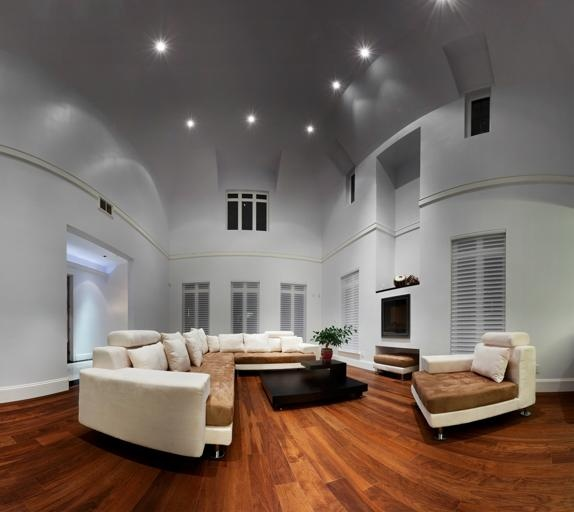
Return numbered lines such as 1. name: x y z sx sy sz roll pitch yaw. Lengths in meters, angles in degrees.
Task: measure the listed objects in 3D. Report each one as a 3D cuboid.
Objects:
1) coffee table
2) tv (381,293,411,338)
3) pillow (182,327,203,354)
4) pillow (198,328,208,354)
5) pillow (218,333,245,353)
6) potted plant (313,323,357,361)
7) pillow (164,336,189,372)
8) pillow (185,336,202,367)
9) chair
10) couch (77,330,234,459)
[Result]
1. coffee table: 0.360 1.818 5.623 1.494 0.361 1.820 0 2 -13
2. tv: 2.035 1.095 6.891 0.072 0.843 0.663 7 -13 -21
3. pillow: -1.422 1.282 5.650 0.153 0.432 0.495 -15 -11 0
4. pillow: -1.510 1.519 6.689 0.148 0.378 0.468 -24 -12 -8
5. pillow: -1.074 1.667 7.182 0.565 0.271 0.448 1 29 -13
6. potted plant: 0.714 1.423 6.125 0.507 0.597 0.508 0 -21 -21
7. pillow: -1.390 1.220 4.629 0.116 0.330 0.387 -12 -8 5
8. pillow: -1.300 1.319 5.145 0.101 0.268 0.334 -7 -5 -7
9. chair: 2.119 1.328 4.308 1.055 1.050 1.170 2 -14 -4
10. couch: -1.094 1.307 4.082 1.567 1.009 1.667 1 2 19
